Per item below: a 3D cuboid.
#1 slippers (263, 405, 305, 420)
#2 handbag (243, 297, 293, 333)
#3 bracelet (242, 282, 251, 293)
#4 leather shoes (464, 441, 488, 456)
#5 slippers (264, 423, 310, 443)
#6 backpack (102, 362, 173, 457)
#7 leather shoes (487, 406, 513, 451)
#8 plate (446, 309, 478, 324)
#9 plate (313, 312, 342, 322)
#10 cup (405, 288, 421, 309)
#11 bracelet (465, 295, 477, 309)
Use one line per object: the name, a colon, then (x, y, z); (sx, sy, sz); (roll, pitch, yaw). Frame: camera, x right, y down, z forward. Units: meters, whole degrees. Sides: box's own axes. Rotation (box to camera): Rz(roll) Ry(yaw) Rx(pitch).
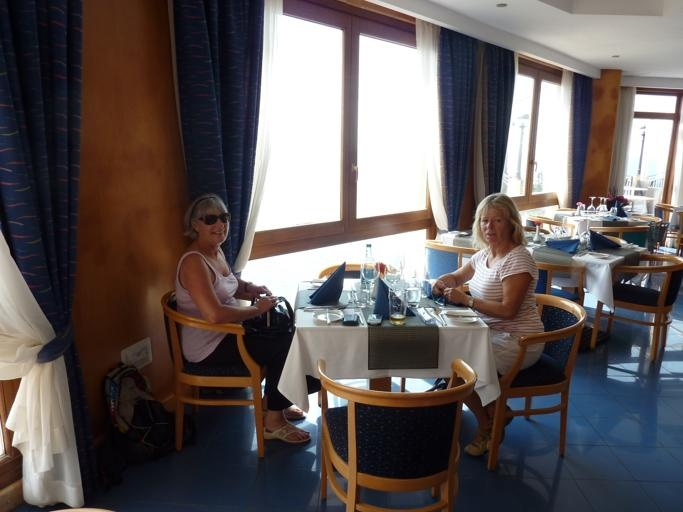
slippers: (-0.460, 1.258, 4.093); (0.320, 0.138, 0.112); (-1, 9, -3)
handbag: (-0.547, 0.439, 3.870); (0.349, 0.172, 0.226); (1, 12, -2)
bracelet: (-0.800, 0.257, 4.282); (0.017, 0.065, 0.066); (-29, 42, -6)
leather shoes: (0.960, 1.379, 3.681); (0.150, 0.110, 0.076); (4, 4, 3)
slippers: (-0.407, 1.330, 3.863); (0.263, 0.104, 0.150); (1, 5, 10)
backpack: (-1.445, 1.129, 3.658); (0.230, 0.669, 0.397); (-28, -5, 42)
leather shoes: (1.106, 1.220, 3.637); (0.142, 0.360, 0.116); (11, 5, -5)
plate: (0.812, 0.414, 3.483); (0.206, 0.034, 0.181); (-2, 12, -3)
plate: (-0.088, 0.409, 3.464); (0.180, 0.030, 0.157); (-2, 12, -3)
cup: (0.507, 0.305, 3.760); (0.121, 0.148, 0.134); (0, 0, 2)
bracelet: (0.920, 0.331, 3.694); (0.051, 0.079, 0.082); (4, 7, 5)
